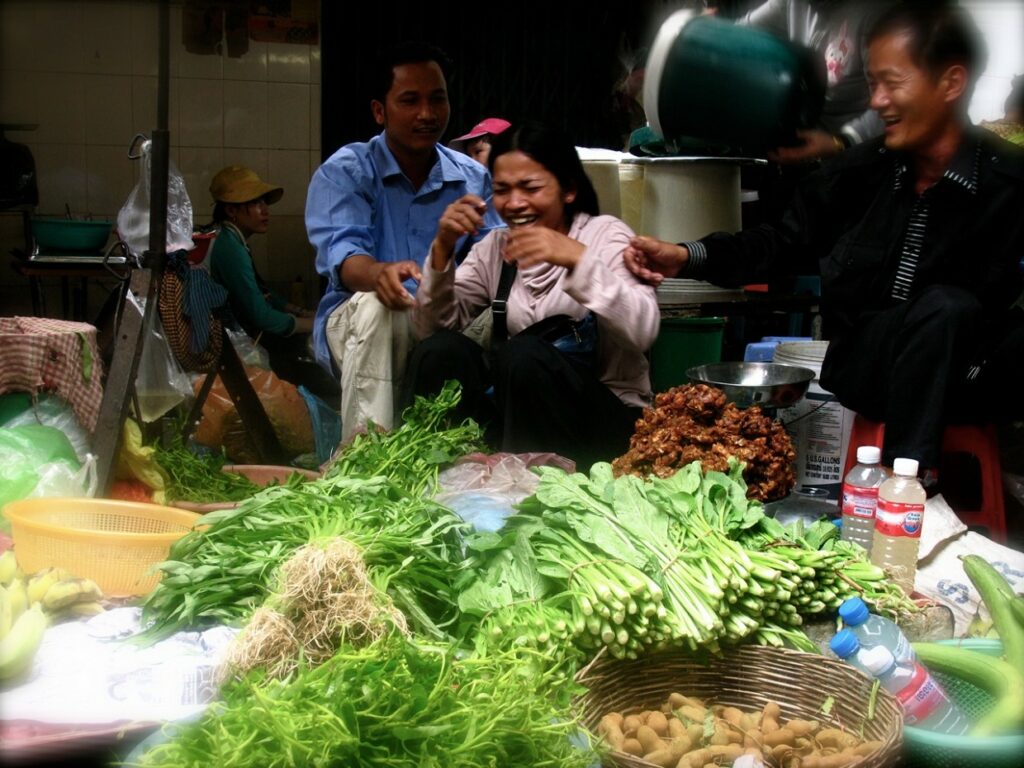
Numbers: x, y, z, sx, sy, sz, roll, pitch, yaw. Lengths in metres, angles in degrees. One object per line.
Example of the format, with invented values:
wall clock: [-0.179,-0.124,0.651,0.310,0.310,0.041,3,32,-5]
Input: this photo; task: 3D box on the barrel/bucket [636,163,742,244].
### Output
barrel/bucket: [0.943,-0.909,3.807,0.446,0.453,0.450,0,1,0]

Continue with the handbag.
handbag: [0.138,0.014,2.957,0.319,0.575,0.188,0,21,-2]

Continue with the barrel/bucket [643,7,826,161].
barrel/bucket: [0.595,-0.805,2.005,0.510,0.347,0.302,12,17,28]
